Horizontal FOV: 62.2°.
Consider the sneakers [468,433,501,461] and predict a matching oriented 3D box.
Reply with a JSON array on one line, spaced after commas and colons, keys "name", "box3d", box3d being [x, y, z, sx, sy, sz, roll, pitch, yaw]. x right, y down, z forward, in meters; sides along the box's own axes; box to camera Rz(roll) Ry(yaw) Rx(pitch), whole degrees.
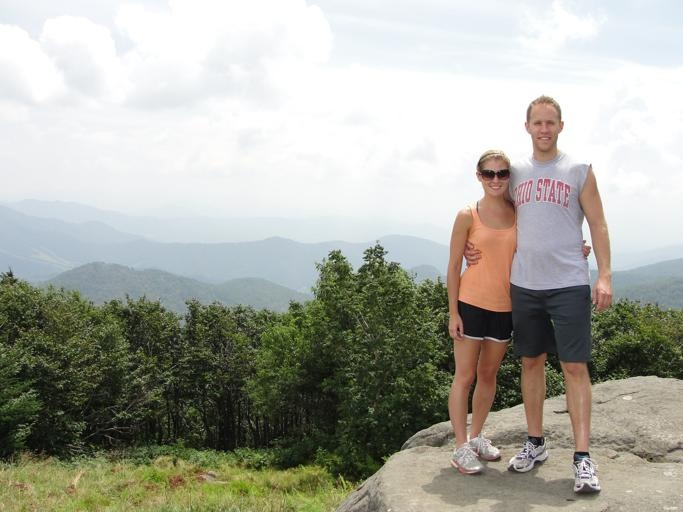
[{"name": "sneakers", "box3d": [2.054, 2.734, 8.059, 0.506, 0.235, 0.265, 8, 15, 44]}]

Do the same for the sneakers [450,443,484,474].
[{"name": "sneakers", "box3d": [1.713, 2.788, 7.804, 0.418, 0.274, 0.251, -12, -8, 8]}]
